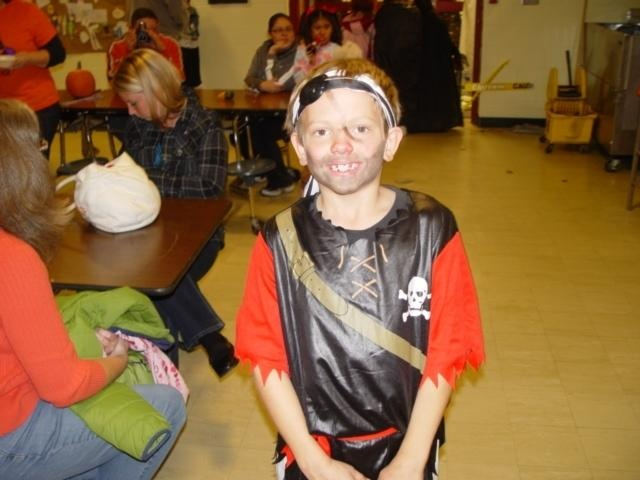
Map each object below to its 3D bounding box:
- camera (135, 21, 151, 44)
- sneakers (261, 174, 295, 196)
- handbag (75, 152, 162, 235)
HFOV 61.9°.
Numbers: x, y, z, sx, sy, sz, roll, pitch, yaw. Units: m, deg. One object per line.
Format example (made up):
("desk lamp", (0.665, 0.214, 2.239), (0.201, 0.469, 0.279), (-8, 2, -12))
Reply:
("camera", (-1.616, -1.883, 4.863), (0.131, 0.198, 0.062), (-3, 6, -9))
("sneakers", (-0.390, -0.535, 5.169), (0.327, 0.248, 0.157), (-2, 21, -4))
("handbag", (-0.902, -0.213, 2.387), (0.321, 0.225, 0.333), (16, 32, 15))
